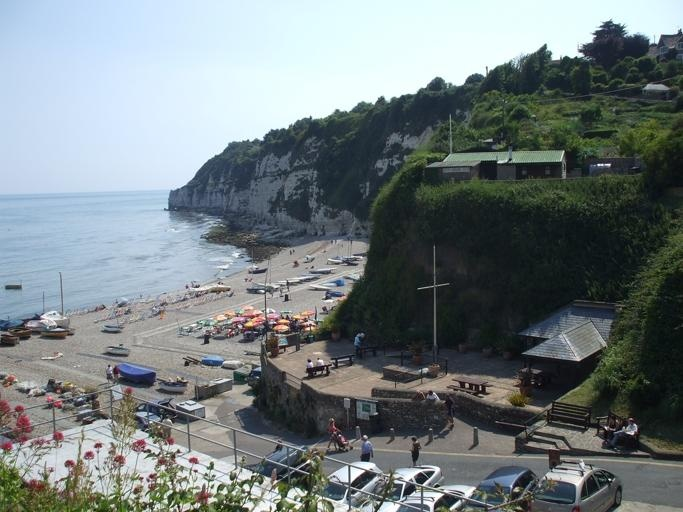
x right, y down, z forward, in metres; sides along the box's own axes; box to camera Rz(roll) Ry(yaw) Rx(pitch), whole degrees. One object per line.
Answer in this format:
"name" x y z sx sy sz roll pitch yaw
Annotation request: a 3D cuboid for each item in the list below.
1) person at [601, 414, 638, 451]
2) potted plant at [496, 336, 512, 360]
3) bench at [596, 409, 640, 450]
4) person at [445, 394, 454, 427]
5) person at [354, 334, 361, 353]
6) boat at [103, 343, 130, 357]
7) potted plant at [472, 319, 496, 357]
"person" 15.359 9.774 42.943 0.546 1.221 1.419 12 -14 -28
"potted plant" 12.062 6.694 57.327 1.264 1.517 1.394 0 4 7
"bench" 15.224 9.326 43.261 0.781 1.367 2.151 14 -12 -21
"person" 6.597 9.359 47.575 0.529 1.798 1.491 2 6 8
"person" 1.291 6.727 60.490 0.487 1.335 1.635 1 6 -4
"boat" -22.440 9.463 77.662 2.110 0.691 1.242 1 15 4
"potted plant" 10.889 6.090 58.731 1.340 2.358 2.180 0 6 -14
